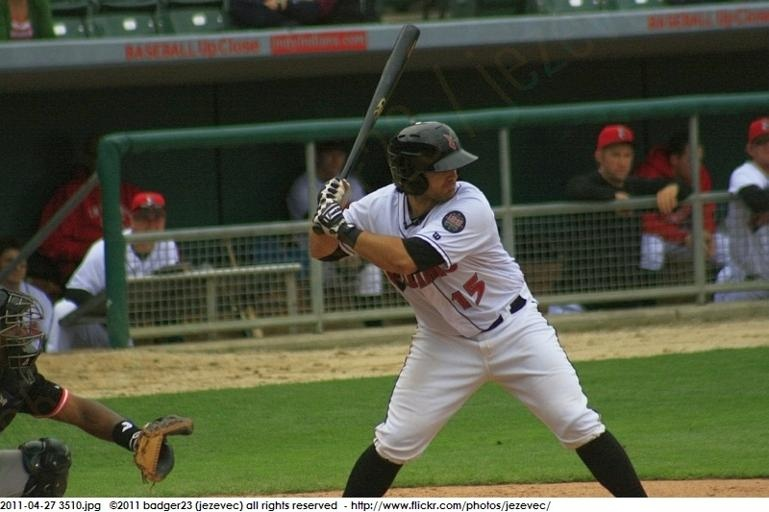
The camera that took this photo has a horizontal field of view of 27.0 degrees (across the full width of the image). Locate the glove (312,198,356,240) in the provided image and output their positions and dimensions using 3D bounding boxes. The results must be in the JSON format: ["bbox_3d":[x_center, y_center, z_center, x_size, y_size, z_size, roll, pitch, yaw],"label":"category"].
[{"bbox_3d":[-0.238,-0.183,8.096,0.212,0.111,0.303,26,15,13],"label":"glove"}]

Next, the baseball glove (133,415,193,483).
[{"bbox_3d":[-1.206,1.022,8.528,0.371,0.291,0.251,0,-13,19],"label":"baseball glove"}]

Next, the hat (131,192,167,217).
[{"bbox_3d":[-1.379,-0.316,9.260,0.223,0.106,0.274,0,5,-16],"label":"hat"}]

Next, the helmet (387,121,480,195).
[{"bbox_3d":[0.250,-0.514,8.162,0.490,0.306,0.382,-10,14,-13],"label":"helmet"}]

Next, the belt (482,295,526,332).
[{"bbox_3d":[0.625,0.281,8.134,0.225,0.056,0.138,-37,21,1],"label":"belt"}]

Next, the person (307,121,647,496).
[{"bbox_3d":[0.395,0.269,8.141,1.473,1.903,0.412,-3,3,-4],"label":"person"}]

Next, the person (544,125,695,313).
[{"bbox_3d":[1.435,-0.227,9.422,0.748,1.026,0.745,3,9,44],"label":"person"}]

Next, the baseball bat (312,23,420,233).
[{"bbox_3d":[-0.095,-0.742,8.424,0.212,1.481,0.162,29,-25,13],"label":"baseball bat"}]
